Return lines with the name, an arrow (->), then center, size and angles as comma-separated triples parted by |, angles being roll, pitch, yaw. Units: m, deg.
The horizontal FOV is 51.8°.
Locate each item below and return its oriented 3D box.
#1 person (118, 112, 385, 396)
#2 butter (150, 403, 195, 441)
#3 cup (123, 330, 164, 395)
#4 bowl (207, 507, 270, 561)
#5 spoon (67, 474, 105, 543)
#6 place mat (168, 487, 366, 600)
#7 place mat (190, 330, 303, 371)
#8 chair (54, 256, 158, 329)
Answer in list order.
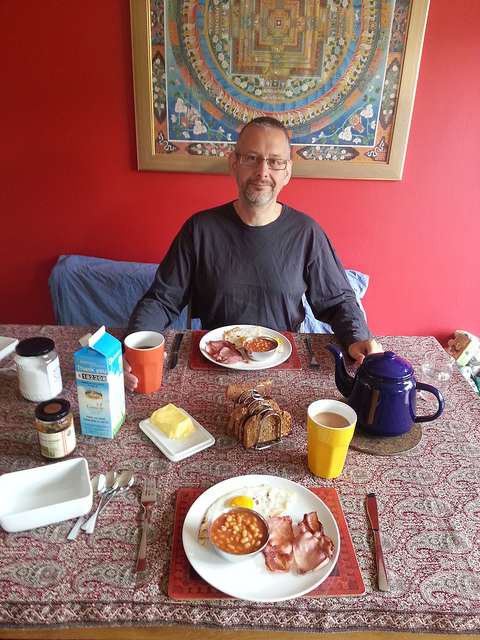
person -> 0.045, -0.244, 1.828 | 1.007, 0.879, 0.557 | 0, 23, -3
butter -> -0.142, 0.215, 1.043 | 0.054, 0.026, 0.078 | -24, 41, -36
cup -> -0.232, 0.092, 1.230 | 0.096, 0.126, 0.141 | 2, 29, -4
bowl -> 0.004, 0.336, 0.771 | 0.083, 0.031, 0.082 | 4, 32, -2
spoon -> -0.252, 0.310, 0.845 | 0.029, 0.018, 0.130 | 10, 16, -9
place mat -> 0.018, 0.323, 0.833 | 0.347, 0.090, 0.255 | -4, 21, -18
place mat -> 0.016, 0.086, 1.443 | 0.320, 0.011, 0.272 | 1, 23, -5
chair -> -0.680, -0.164, 2.663 | 0.649, 0.346, 0.222 | -7, 3, 17
